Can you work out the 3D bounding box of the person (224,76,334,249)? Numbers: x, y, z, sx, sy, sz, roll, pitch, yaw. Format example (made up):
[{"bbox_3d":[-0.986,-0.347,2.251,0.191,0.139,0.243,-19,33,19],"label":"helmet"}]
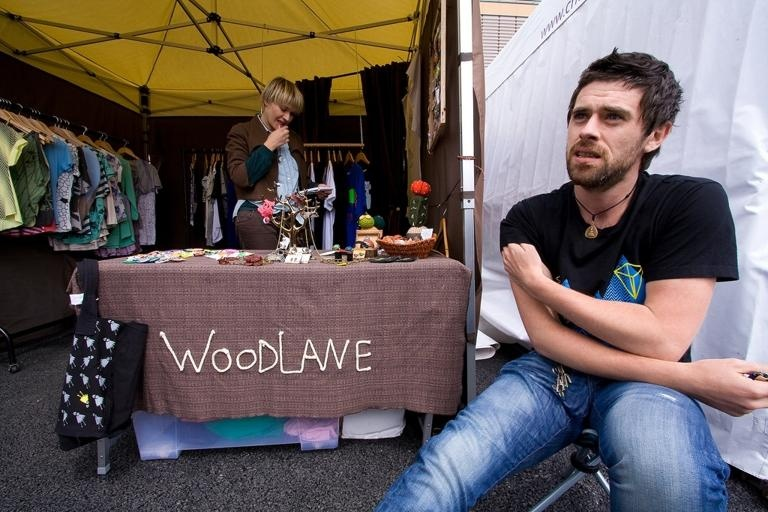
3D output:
[{"bbox_3d":[-0.703,-0.570,3.424,0.524,1.035,0.498,-6,10,-21],"label":"person"}]

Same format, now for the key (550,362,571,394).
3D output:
[{"bbox_3d":[0.811,0.555,2.469,0.068,0.120,0.024,-2,-18,5],"label":"key"}]

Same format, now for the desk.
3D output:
[{"bbox_3d":[-0.495,0.542,3.147,1.904,1.033,0.699,-1,3,-6],"label":"desk"}]

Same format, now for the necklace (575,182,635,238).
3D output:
[{"bbox_3d":[1.020,-0.214,2.438,0.227,0.242,0.132,7,-28,8],"label":"necklace"}]

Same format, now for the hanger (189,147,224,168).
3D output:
[{"bbox_3d":[-1.903,-1.038,5.905,0.567,0.214,0.337,7,14,44],"label":"hanger"}]

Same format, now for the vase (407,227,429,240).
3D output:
[{"bbox_3d":[0.206,-0.128,3.150,0.080,0.054,0.085,2,11,8],"label":"vase"}]

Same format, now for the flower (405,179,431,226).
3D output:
[{"bbox_3d":[0.219,-0.288,3.368,0.140,0.345,0.132,0,10,-17],"label":"flower"}]

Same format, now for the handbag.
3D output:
[{"bbox_3d":[-1.451,0.501,2.772,0.437,0.930,0.204,-1,10,9],"label":"handbag"}]
